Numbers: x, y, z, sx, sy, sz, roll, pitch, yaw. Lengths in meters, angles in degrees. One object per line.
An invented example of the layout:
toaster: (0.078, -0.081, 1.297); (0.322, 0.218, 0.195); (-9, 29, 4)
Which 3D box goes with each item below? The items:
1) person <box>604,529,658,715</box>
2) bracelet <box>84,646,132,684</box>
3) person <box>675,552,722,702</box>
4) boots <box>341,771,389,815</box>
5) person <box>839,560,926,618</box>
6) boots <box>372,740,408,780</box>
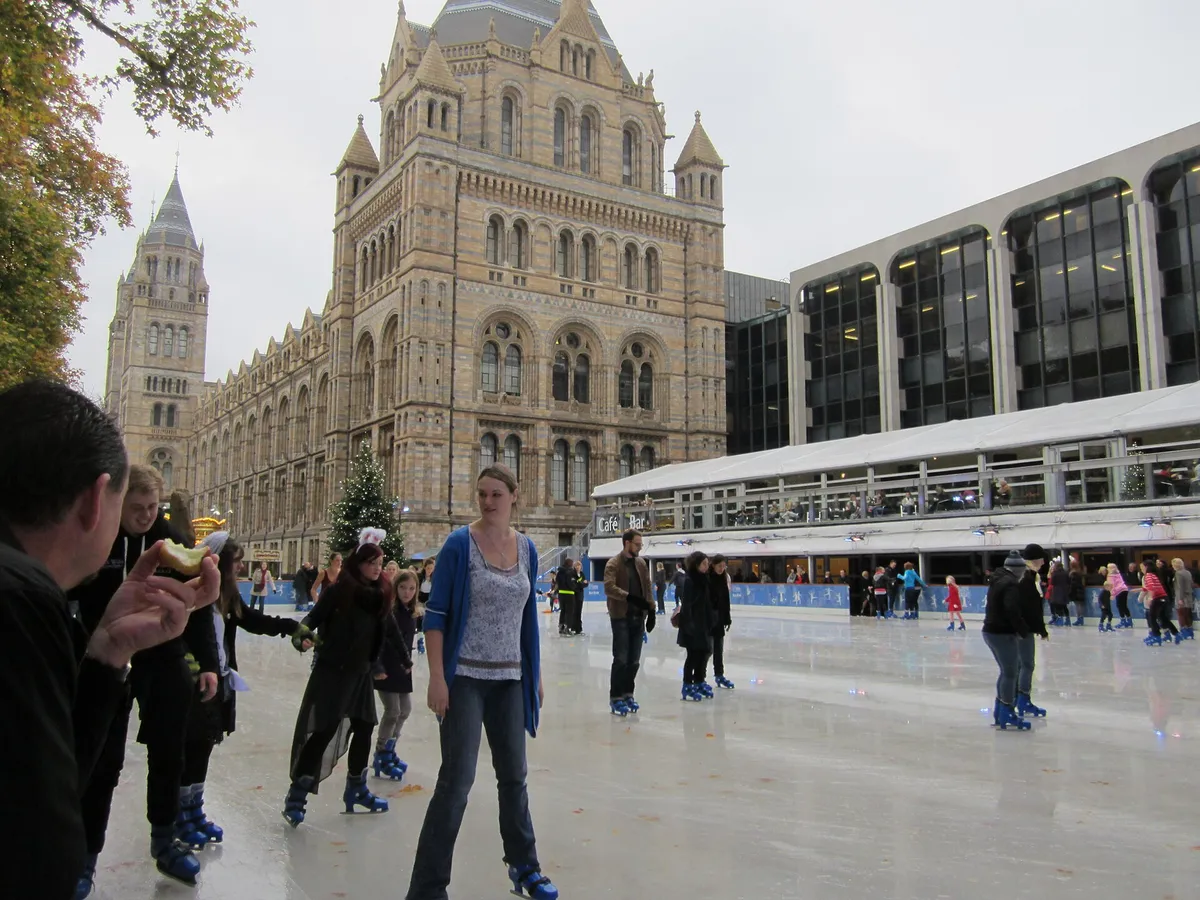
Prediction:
person: (0.345, 1.977, 11.949); (0.582, 2.113, 1.391); (0, -8, 2)
bracelet: (-1.690, 0.739, 3.465); (0.123, 0.092, 0.129); (2, -6, 4)
person: (1.165, 2.145, 12.353); (0.485, 1.776, 0.750); (-1, -8, 8)
boots: (-1.711, 2.485, 7.374); (0.314, 0.292, 0.247); (2, -9, -13)
person: (8.398, 4.138, 29.665); (1.347, 1.356, 0.755); (2, -17, -1)
boots: (-1.757, 2.588, 8.448); (0.328, 0.357, 0.225); (-1, -2, -11)
